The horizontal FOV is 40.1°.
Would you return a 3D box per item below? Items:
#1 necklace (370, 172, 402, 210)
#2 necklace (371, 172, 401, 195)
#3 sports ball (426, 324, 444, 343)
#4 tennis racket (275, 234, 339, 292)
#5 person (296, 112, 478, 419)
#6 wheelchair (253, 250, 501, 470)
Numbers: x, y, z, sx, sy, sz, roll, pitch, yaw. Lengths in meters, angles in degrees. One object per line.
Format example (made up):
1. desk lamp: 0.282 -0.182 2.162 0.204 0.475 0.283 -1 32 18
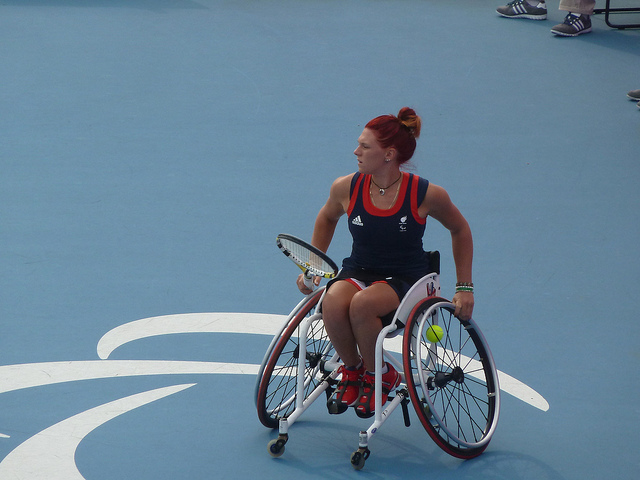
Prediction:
1. necklace: 0.510 -0.372 6.797 0.257 0.276 0.084 -4 -5 3
2. necklace: 0.517 -0.442 6.807 0.225 0.282 0.019 1 -42 5
3. sports ball: 0.865 0.713 6.696 0.118 0.139 0.113 -3 -6 0
4. tennis racket: -0.181 0.153 6.565 0.409 0.090 0.623 28 11 11
5. person: 0.548 0.187 6.817 1.137 2.291 0.530 -3 -5 -3
6. wheelchair: 0.452 1.000 6.846 0.817 1.151 1.569 16 26 37
